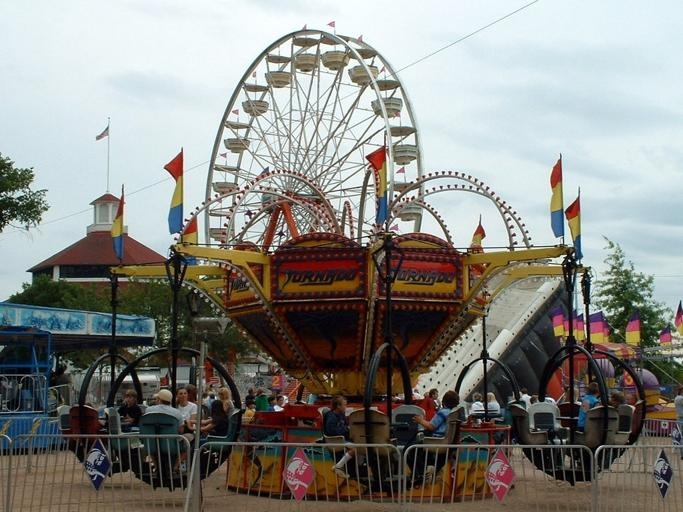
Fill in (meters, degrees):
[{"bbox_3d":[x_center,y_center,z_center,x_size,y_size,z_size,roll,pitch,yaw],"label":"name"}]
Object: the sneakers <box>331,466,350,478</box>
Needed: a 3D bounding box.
[{"bbox_3d":[-0.021,4.458,26.706,0.235,0.160,0.477,-23,-48,16],"label":"sneakers"}]
